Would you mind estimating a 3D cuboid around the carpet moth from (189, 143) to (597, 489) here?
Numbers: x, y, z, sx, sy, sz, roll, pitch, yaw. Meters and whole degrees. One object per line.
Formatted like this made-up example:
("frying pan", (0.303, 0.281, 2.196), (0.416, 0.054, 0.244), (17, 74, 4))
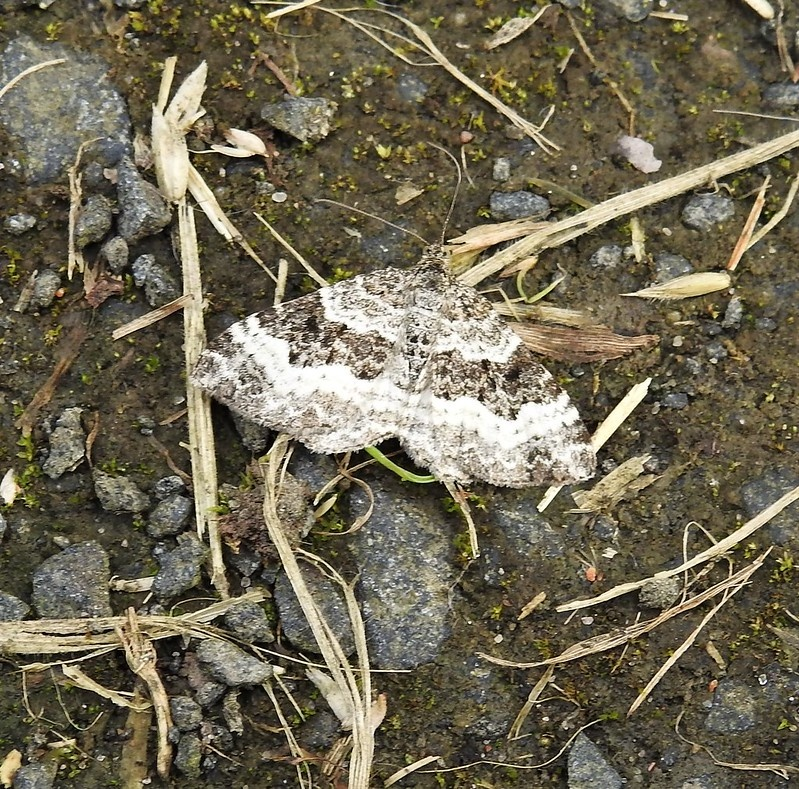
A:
("carpet moth", (0.065, -0.086, 4.664), (1.835, 0.440, 0.986), (19, 71, 8))
